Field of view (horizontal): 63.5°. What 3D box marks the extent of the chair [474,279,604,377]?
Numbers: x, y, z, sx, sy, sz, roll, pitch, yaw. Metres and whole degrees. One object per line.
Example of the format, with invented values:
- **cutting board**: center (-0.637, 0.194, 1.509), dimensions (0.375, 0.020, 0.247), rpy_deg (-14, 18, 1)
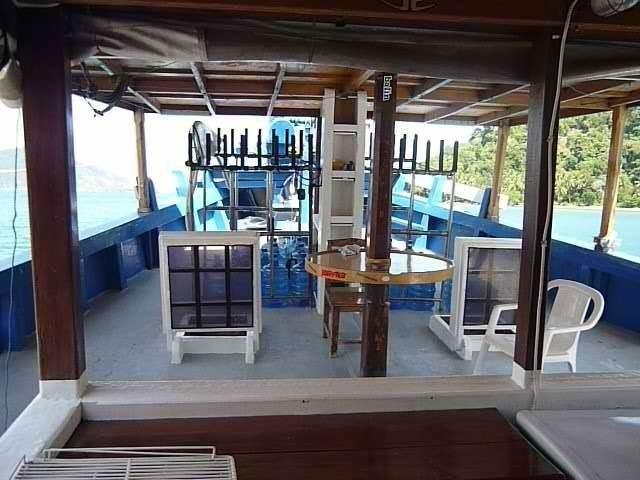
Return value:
- **chair**: center (1.592, 0.659, 3.840), dimensions (0.695, 0.896, 0.713), rpy_deg (3, 10, -18)
